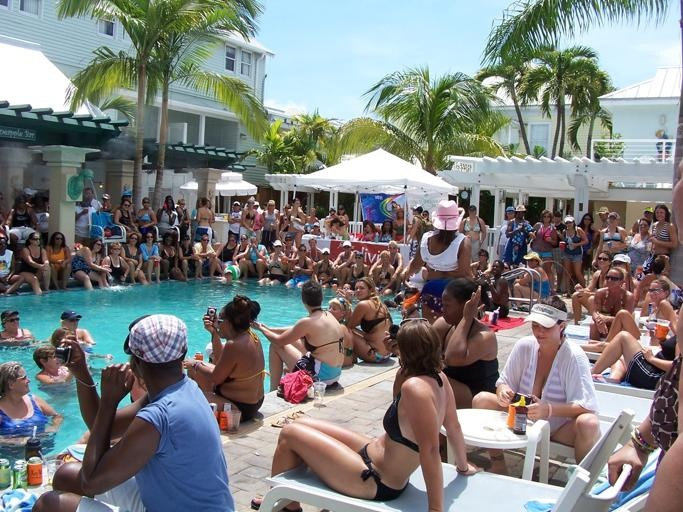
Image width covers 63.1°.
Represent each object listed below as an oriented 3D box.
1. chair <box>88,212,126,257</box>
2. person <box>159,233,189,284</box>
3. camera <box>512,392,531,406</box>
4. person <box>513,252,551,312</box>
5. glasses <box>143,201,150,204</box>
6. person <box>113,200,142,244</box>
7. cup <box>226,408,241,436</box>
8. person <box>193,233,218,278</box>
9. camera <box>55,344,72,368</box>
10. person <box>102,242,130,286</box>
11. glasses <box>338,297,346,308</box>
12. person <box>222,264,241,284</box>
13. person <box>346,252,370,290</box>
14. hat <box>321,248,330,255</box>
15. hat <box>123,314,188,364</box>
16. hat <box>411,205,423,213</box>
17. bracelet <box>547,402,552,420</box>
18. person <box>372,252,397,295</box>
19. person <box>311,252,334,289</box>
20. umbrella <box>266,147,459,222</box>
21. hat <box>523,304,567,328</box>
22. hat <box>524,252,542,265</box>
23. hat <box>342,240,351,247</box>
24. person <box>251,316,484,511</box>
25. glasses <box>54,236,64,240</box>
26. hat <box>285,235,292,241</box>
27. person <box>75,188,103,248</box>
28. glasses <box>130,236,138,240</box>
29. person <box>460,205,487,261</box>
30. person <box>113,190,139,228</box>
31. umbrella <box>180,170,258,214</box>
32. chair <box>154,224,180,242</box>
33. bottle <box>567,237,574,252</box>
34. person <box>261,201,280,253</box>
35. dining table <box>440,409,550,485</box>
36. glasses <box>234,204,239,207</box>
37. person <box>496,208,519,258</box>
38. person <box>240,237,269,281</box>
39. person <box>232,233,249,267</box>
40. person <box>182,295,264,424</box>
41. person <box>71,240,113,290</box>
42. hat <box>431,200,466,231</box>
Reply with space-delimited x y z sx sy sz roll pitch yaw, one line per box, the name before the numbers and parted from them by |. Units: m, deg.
chair | -6.677 -0.671 15.958 1.196 1.647 1.066 5 6 41
person | -5.063 0.004 16.905 0.803 1.432 0.342 2 3 -20
camera | 1.481 1.183 4.577 0.117 0.041 0.122 13 -8 22
person | 4.292 0.569 12.781 0.850 1.404 0.593 -1 16 5
glasses | -5.888 -1.639 16.857 0.150 0.089 0.210 1 3 -10
person | -6.187 -1.100 16.201 0.666 1.114 0.839 1 4 -35
cup | -1.096 1.700 5.669 0.178 0.229 0.186 0 4 0
person | -4.371 -0.008 17.723 0.835 1.344 0.788 3 4 31
camera | -1.780 0.649 3.589 0.129 0.128 0.081 -6 -6 38
person | -6.149 0.191 15.287 0.617 1.120 0.731 -8 -6 36
glasses | 0.004 0.661 7.963 0.097 0.046 0.081 22 8 11
person | -3.414 0.533 17.503 0.501 0.530 0.739 3 3 -12
person | 0.476 0.437 16.542 0.798 1.383 0.919 2 7 19
hat | -0.478 -0.140 16.896 0.178 0.198 0.444 2 2 -14
hat | -1.053 0.491 3.211 0.294 0.254 0.124 2 3 -21
hat | 2.140 -1.326 15.721 0.294 0.247 0.485 6 7 2
bracelet | 1.712 1.288 4.604 0.037 0.100 0.086 10 -31 9
person | 1.182 0.507 15.825 0.658 1.265 1.210 1 0 26
person | -0.527 0.373 16.849 0.794 1.180 0.772 8 -2 -33
umbrella | 0.751 -2.715 19.488 4.013 1.748 4.057 -3 7 -34
hat | 1.750 0.505 4.743 0.287 0.199 0.221 4 3 18
hat | 4.234 0.027 12.317 0.378 0.221 0.281 9 5 -6
hat | 0.158 -0.375 17.079 0.206 0.136 0.353 -1 -1 7
person | 0.211 1.080 4.351 1.540 1.432 1.039 0 -1 26
glasses | -7.089 -0.454 14.148 0.099 0.120 0.295 3 2 1
hat | -1.674 -0.584 17.899 0.178 0.215 0.246 -1 1 -11
person | -7.257 -1.109 15.989 0.612 1.547 1.277 2 3 -24
glasses | -5.830 -0.545 15.702 0.212 0.157 0.117 2 3 -31
person | 3.624 -0.385 15.539 0.633 1.991 0.586 5 28 19
person | -6.189 -1.211 16.190 0.711 1.086 0.845 2 0 -28
umbrella | -5.238 -3.081 24.527 2.377 0.959 2.428 -1 6 -30
chair | -5.377 -0.772 17.408 0.524 0.755 0.686 -1 -3 -37
bottle | 5.957 -0.288 14.516 0.139 0.299 0.149 3 3 0
person | -2.457 -0.995 19.194 0.570 1.816 0.484 2 22 -9
dining table | 1.246 1.416 4.522 0.698 0.740 0.664 -1 -4 41
glasses | -3.815 -1.871 20.300 0.102 0.064 0.172 1 -5 -6
person | 4.692 -0.437 15.715 0.469 1.822 0.435 9 15 18
person | -2.809 0.058 18.147 0.873 1.426 0.993 -3 5 -14
person | -3.196 -0.205 17.862 0.464 0.936 0.289 2 3 -12
person | -1.292 1.233 6.008 0.778 1.614 0.644 5 4 9
person | -6.582 0.317 14.817 0.922 1.780 0.623 -3 -14 5
hat | 1.286 -0.501 6.803 0.324 0.383 0.411 4 3 10
